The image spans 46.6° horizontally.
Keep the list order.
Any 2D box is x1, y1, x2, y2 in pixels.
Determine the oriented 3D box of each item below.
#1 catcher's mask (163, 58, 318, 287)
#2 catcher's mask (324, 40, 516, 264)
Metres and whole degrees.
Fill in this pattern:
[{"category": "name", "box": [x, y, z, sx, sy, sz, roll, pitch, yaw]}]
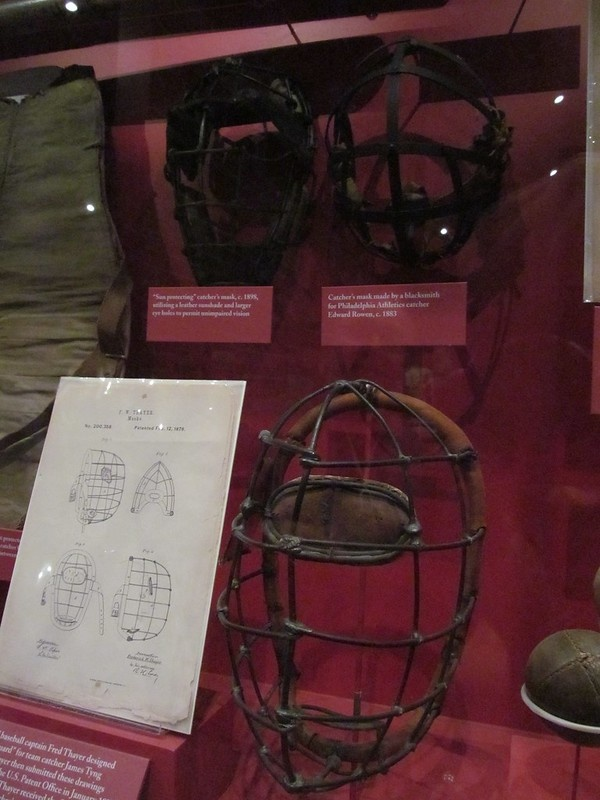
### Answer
[{"category": "catcher's mask", "box": [-0.075, -0.524, 1.668, 0.390, 0.480, 0.461, 4, 14, 5]}, {"category": "catcher's mask", "box": [0.243, -0.519, 1.437, 0.375, 0.408, 0.347, -4, 36, 4]}]
